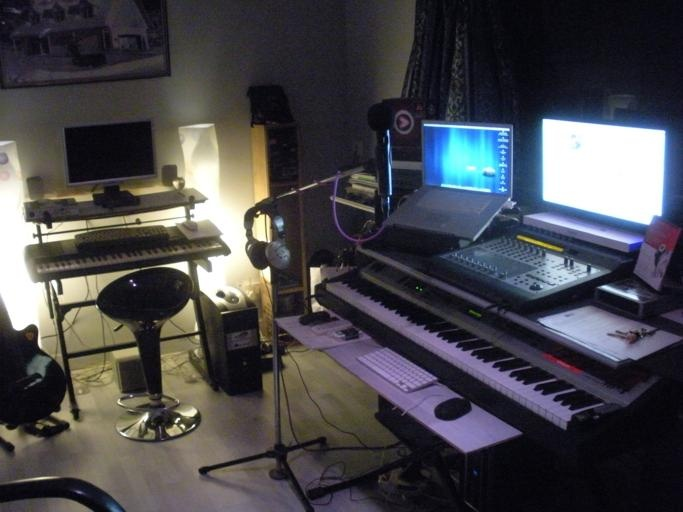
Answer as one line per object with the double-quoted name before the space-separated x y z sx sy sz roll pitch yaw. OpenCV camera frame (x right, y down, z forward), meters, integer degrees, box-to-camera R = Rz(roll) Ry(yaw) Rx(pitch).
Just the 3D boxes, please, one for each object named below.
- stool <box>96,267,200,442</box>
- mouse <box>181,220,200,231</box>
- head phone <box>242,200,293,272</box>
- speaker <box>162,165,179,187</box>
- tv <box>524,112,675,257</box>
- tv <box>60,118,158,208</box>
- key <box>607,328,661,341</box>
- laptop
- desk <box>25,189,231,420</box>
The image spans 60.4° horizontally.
"stool" -1.168 0.605 3.625 0.598 0.979 0.433 -9 17 -15
"mouse" -1.074 -0.223 4.143 0.055 0.060 0.170 -13 26 -38
"head phone" -0.373 -0.090 2.861 0.207 0.385 0.292 -7 16 -8
"speaker" -1.262 -0.587 4.290 0.118 0.152 0.097 -10 17 -16
"tv" 1.087 -0.336 2.584 0.254 0.512 0.687 -16 22 -26
"tv" -1.602 -0.639 3.981 0.546 0.484 0.275 -11 28 -25
"key" 1.095 0.288 2.189 0.118 0.024 0.069 -10 13 -31
"laptop" 0.500 -0.371 2.883 0.341 0.546 0.553 -17 20 -37
"desk" -1.451 0.316 3.902 1.174 1.131 0.809 -11 30 -24
